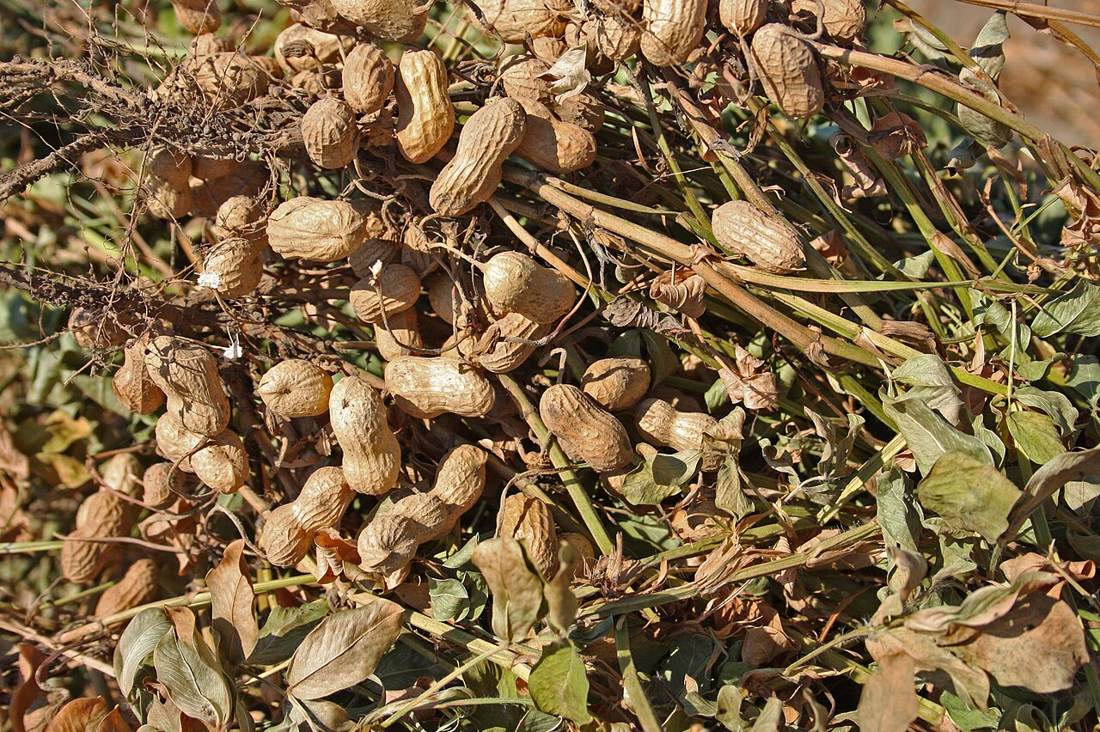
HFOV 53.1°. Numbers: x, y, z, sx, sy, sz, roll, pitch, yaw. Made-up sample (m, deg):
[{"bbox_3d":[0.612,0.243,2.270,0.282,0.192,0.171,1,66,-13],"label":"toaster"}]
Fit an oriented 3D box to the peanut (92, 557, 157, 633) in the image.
[{"bbox_3d":[-0.689,0.373,1.812,0.114,0.041,0.066,-48,108,-15],"label":"peanut"}]
